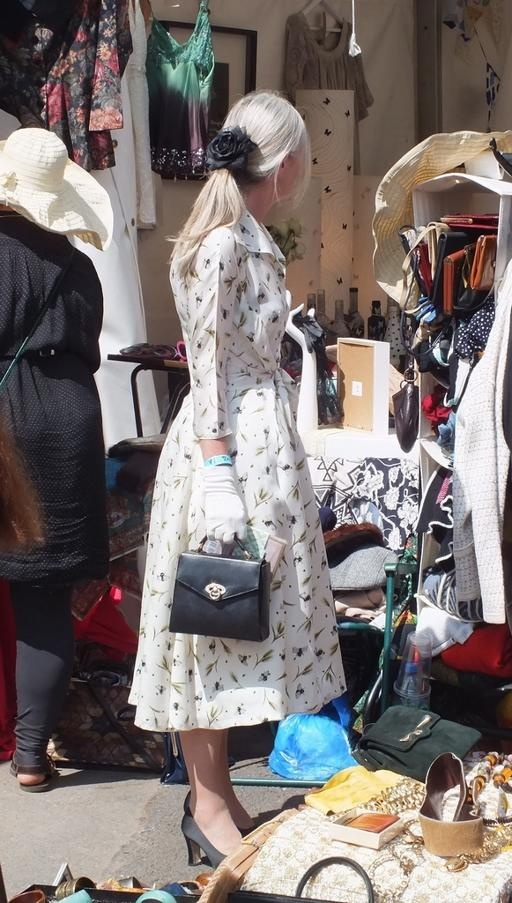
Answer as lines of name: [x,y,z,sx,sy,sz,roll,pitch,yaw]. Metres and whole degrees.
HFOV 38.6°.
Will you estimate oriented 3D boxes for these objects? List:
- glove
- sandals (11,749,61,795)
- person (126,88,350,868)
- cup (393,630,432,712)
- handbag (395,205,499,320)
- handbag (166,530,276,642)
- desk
glove: [-0.057,0.102,1.354,0.082,0.138,0.042,-4,-17,0]
sandals: [-0.642,0.923,2.123,0.072,0.065,0.149,1,7,-4]
person: [-0.015,-0.069,1.459,0.472,1.205,0.345,0,0,-11]
cup: [0.460,0.644,2.131,0.106,0.170,0.117,0,0,10]
handbag: [0.554,-0.509,2.033,0.260,0.346,0.100,-17,28,-35]
handbag: [-0.053,0.246,1.310,0.196,0.211,0.094,7,9,20]
desk: [-0.464,-0.304,3.485,0.429,0.435,0.439,4,9,10]
